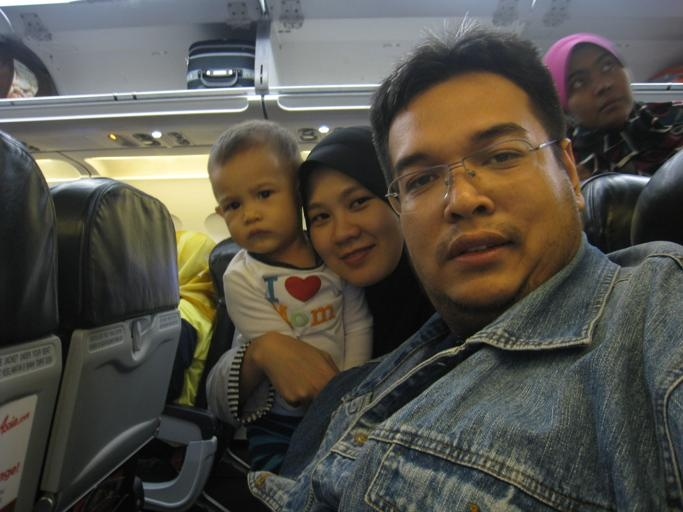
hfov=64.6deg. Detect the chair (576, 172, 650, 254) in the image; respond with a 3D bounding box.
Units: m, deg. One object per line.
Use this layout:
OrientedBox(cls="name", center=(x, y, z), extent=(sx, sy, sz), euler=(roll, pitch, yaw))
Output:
OrientedBox(cls="chair", center=(0.915, -0.162, 1.927), extent=(0.331, 0.257, 0.309), euler=(4, 2, 20))
